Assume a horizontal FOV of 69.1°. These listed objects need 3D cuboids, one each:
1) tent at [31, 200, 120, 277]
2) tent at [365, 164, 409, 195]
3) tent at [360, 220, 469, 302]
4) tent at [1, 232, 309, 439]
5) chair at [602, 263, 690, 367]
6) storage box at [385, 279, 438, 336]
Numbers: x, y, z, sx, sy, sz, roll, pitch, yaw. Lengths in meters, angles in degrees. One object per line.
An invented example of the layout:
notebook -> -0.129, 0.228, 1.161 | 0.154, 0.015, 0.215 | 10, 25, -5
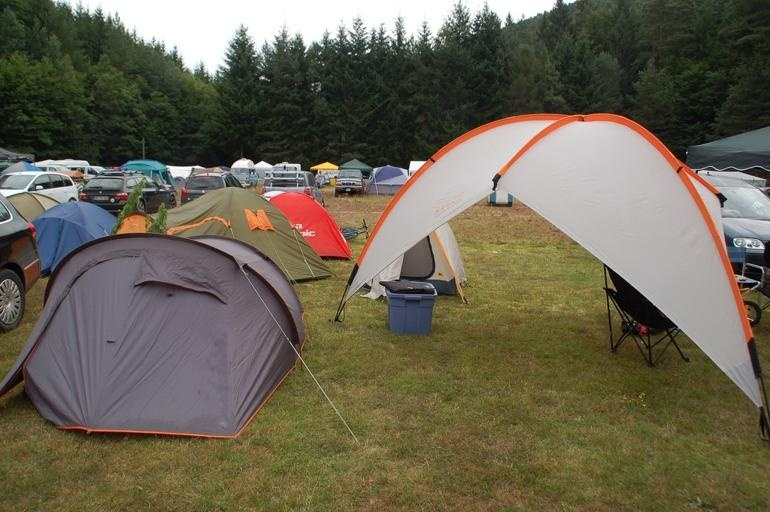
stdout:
tent -> -6.189, -0.558, 11.372 | 1.855, 0.868, 1.891 | 2, 37, -7
tent -> 0.021, -4.326, 32.111 | 2.211, 1.061, 2.457 | 2, 17, 8
tent -> 0.547, 0.177, 10.300 | 1.553, 1.180, 1.476 | 8, 13, 30
tent -> -2.747, 0.852, 6.703 | 2.960, 2.031, 1.498 | 1, 14, -3
chair -> 3.807, 0.802, 8.048 | 1.238, 1.358, 1.273 | 4, -4, 25
storage box -> 0.394, 0.823, 9.140 | 0.814, 0.712, 1.134 | 2, 8, 1
